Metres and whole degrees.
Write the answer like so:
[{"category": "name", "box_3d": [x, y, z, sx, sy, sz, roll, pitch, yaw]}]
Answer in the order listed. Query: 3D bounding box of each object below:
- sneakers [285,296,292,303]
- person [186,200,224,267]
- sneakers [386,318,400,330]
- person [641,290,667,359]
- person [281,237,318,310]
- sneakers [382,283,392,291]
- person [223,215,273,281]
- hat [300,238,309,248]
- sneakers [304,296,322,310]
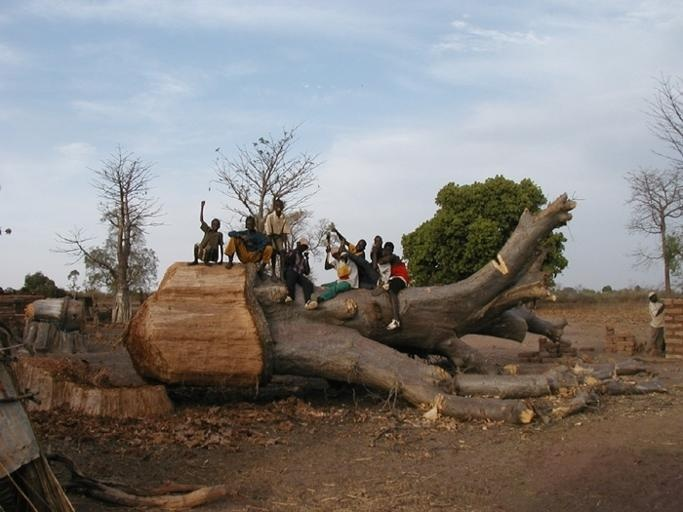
[{"category": "sneakers", "box_3d": [-1.020, 0.851, 12.021, 0.131, 0.105, 0.137, -1, -19, 28]}, {"category": "person", "box_3d": [-2.449, -0.434, 11.291, 0.587, 0.930, 1.844, -3, -2, -12]}, {"category": "sneakers", "box_3d": [1.015, 1.354, 12.228, 0.157, 0.162, 0.280, 16, 33, 30]}, {"category": "person", "box_3d": [8.371, 1.811, 16.622, 0.420, 1.816, 0.815, -4, -1, 27]}, {"category": "person", "box_3d": [-0.846, 0.341, 12.235, 0.575, 1.105, 0.783, -3, -2, -5]}, {"category": "sneakers", "box_3d": [0.901, 0.625, 12.378, 0.106, 0.113, 0.146, 15, -42, -38]}, {"category": "person", "box_3d": [-1.866, -0.240, 12.347, 0.892, 1.191, 0.672, 9, -17, -19]}, {"category": "hat", "box_3d": [-0.756, -0.222, 12.472, 0.172, 0.172, 0.462, -3, -2, -5]}, {"category": "sneakers", "box_3d": [-0.558, 0.943, 12.095, 0.287, 0.189, 0.117, -3, 22, 44]}]
